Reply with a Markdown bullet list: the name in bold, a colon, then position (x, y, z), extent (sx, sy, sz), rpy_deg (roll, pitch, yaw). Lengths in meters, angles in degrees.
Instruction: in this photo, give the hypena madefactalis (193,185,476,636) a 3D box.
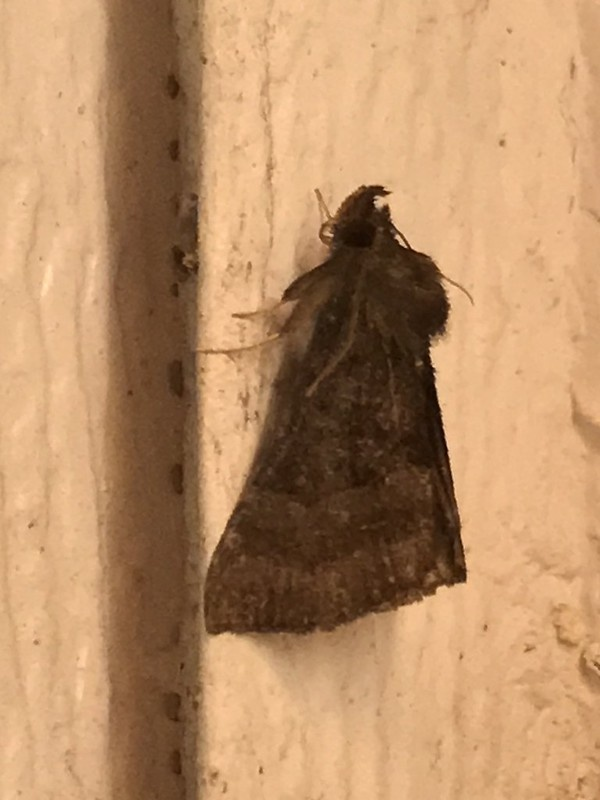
- **hypena madefactalis**: position (0.119, 0.009, 6.596), extent (0.735, 0.304, 1.295), rpy_deg (-2, 95, -2)
